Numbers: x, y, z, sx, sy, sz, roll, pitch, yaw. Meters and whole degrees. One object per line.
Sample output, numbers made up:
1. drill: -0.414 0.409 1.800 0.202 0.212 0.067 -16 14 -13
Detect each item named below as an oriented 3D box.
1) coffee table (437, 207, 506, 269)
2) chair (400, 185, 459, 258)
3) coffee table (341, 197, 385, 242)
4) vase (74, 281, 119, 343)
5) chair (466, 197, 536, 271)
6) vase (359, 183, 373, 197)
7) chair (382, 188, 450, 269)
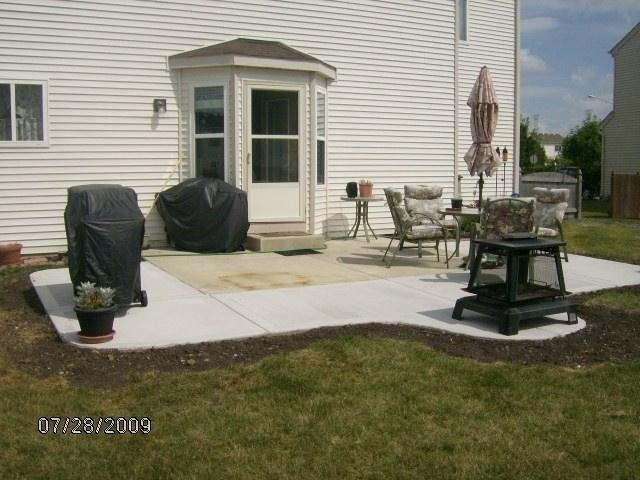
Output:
1. coffee table: 2.529 -0.082 8.891 1.255 1.069 1.211 0 6 7
2. chair: 2.111 -0.365 10.025 0.867 1.340 1.042 -4 12 -5
3. coffee table: 0.992 -0.528 11.918 0.748 0.823 0.798 4 4 26
4. vase: -2.273 0.736 5.354 0.379 0.562 0.392 -6 11 -38
5. chair: 2.678 0.015 7.899 0.983 1.335 1.018 2 10 7
6. vase: 1.027 -1.104 11.716 0.280 0.311 0.439 1 9 3
7. chair: 1.696 -0.246 9.482 1.218 1.171 0.962 3 4 -15
